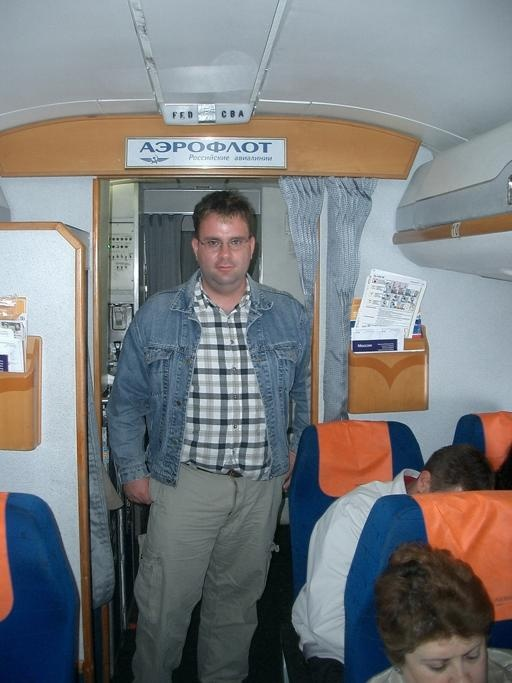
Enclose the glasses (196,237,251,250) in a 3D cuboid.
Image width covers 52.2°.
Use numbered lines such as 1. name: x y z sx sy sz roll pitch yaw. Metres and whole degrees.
1. glasses: -0.110 -0.336 1.779 0.163 0.048 0.050 2 3 -5
